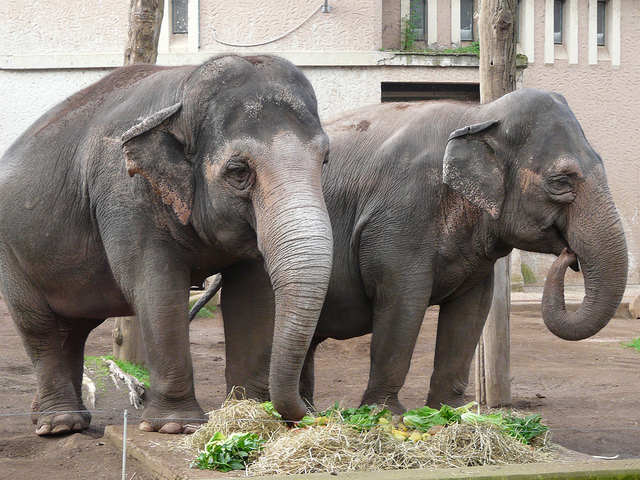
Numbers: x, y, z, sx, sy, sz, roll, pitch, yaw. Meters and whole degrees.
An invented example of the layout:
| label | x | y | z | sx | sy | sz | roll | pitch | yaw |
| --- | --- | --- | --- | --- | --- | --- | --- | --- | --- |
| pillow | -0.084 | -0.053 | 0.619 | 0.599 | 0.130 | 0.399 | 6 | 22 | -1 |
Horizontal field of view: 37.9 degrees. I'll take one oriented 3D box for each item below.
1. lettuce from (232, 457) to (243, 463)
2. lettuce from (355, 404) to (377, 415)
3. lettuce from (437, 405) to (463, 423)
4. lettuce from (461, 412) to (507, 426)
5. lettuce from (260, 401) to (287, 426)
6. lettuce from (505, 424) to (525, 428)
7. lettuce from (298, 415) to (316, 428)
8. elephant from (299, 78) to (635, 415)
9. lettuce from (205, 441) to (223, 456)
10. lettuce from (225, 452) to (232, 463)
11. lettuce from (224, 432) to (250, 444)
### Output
| label | x | y | z | sx | sy | sz | roll | pitch | yaw |
| --- | --- | --- | --- | --- | --- | --- | --- | --- | --- |
| lettuce | -0.421 | 1.118 | 4.754 | 0.045 | 0.020 | 0.028 | -3 | 9 | -24 |
| lettuce | 0.254 | 0.939 | 5.168 | 0.108 | 0.032 | 0.144 | -2 | 12 | 12 |
| lettuce | 0.702 | 0.954 | 5.129 | 0.120 | 0.076 | 0.079 | 1 | 8 | 6 |
| lettuce | 0.871 | 0.968 | 5.055 | 0.218 | 0.049 | 0.077 | 4 | -13 | -11 |
| lettuce | -0.258 | 0.927 | 5.049 | 0.181 | 0.032 | 0.102 | 25 | 26 | 10 |
| lettuce | 1.075 | 1.031 | 5.194 | 0.114 | 0.029 | 0.028 | -3 | 9 | -22 |
| lettuce | -0.062 | 0.956 | 4.954 | 0.030 | 0.037 | 0.126 | 2 | 27 | 42 |
| elephant | 0.878 | 0.050 | 5.845 | 1.798 | 1.972 | 0.690 | 0 | 9 | -1 |
| lettuce | -0.552 | 1.065 | 4.790 | 0.083 | 0.059 | 0.018 | 1 | -4 | -17 |
| lettuce | -0.466 | 1.099 | 4.738 | 0.033 | 0.041 | 0.016 | 35 | -22 | -22 |
| lettuce | -0.432 | 1.017 | 4.819 | 0.095 | 0.031 | 0.110 | 3 | 8 | 20 |
